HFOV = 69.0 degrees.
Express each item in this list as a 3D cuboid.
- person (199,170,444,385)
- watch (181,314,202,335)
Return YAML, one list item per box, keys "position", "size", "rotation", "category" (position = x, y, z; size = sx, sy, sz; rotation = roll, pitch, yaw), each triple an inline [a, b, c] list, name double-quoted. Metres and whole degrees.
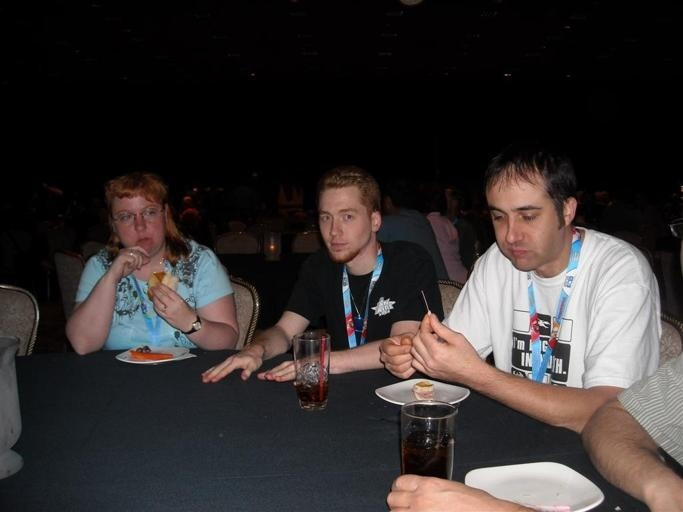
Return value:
- position: [-0.109, 0.053, 2.458]
  size: [0.767, 0.881, 1.118]
  rotation: [3, -1, 38]
  category: "person"
- position: [-0.678, 0.313, 2.297]
  size: [0.089, 0.089, 0.040]
  rotation: [-26, -24, 20]
  category: "watch"
